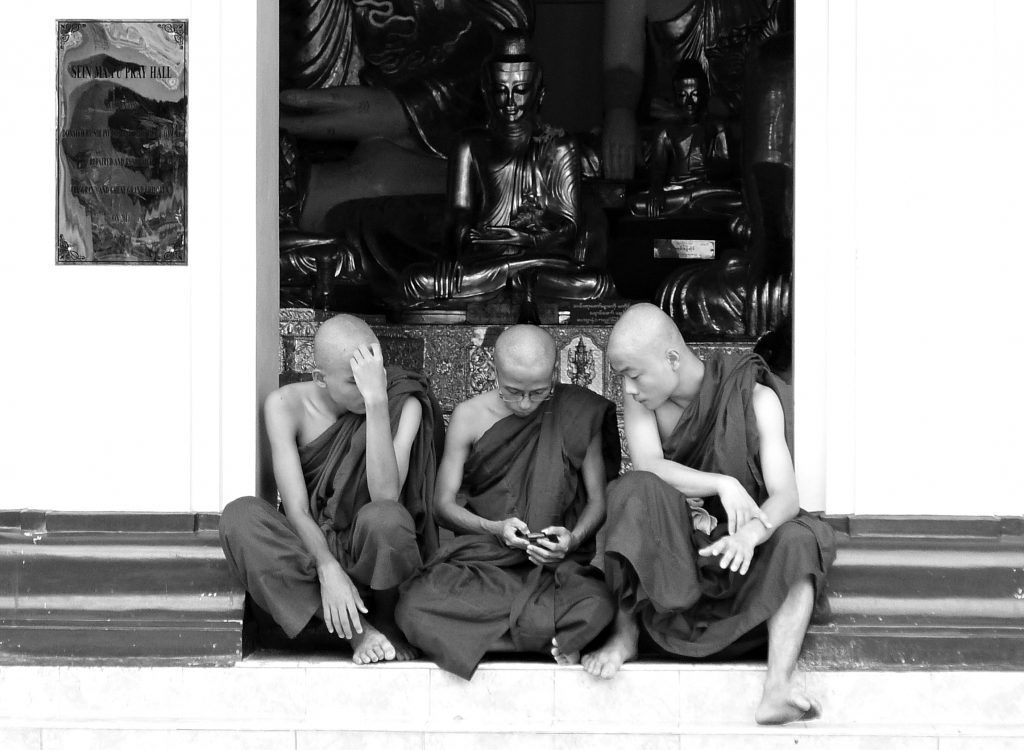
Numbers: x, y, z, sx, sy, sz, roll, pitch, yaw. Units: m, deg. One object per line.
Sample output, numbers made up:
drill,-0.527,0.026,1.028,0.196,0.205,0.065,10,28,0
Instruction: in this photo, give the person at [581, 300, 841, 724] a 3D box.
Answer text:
person,0.604,0.367,4.592,0.759,1.122,0.681,2,3,29

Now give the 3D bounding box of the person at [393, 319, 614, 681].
person,-0.003,0.353,4.748,0.701,0.968,0.770,1,9,-6

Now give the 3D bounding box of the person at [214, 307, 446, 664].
person,-0.545,0.333,4.707,0.663,1.027,0.430,-1,7,-2

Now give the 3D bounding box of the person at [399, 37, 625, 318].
person,-0.001,-0.885,6.652,1.011,1.211,0.729,-2,7,-12
